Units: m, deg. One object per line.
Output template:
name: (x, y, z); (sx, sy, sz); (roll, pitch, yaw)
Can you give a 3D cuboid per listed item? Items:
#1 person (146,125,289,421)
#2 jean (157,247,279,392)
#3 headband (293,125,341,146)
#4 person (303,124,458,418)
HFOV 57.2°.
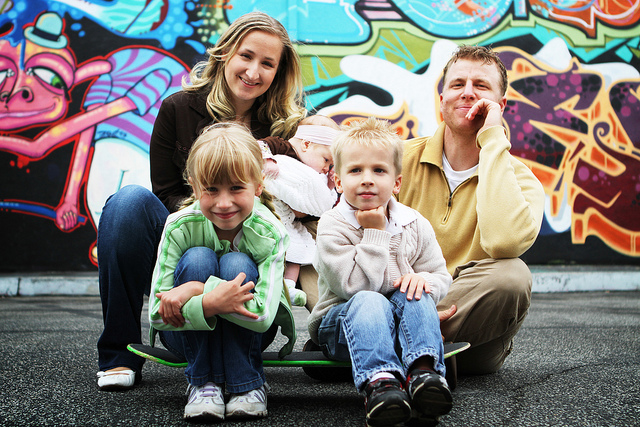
person: (-0.601, 0.312, 3.484); (0.797, 1.701, 0.407); (3, 2, -4)
jean: (-0.617, 0.621, 3.530); (0.691, 0.819, 0.316); (3, 2, -5)
headband: (-0.009, -0.584, 4.796); (0.325, 0.130, 0.239); (1, 3, -12)
person: (0.344, 0.299, 3.474); (0.866, 1.205, 0.655); (4, 2, 10)
